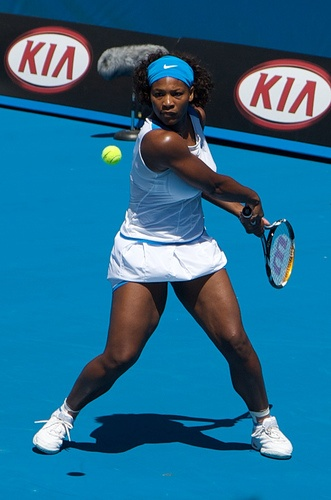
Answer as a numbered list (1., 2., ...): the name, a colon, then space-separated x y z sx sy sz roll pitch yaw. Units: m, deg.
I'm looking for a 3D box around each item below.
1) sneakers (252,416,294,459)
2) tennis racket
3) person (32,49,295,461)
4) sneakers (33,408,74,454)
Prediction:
1. sneakers: 0.446 0.815 2.124 0.112 0.126 0.217 3 -9 -25
2. tennis racket: 0.584 -0.006 2.540 0.054 0.274 0.471 -2 -32 29
3. person: 0.015 0.070 2.019 1.051 1.695 0.520 0 11 -16
4. sneakers: -0.447 0.766 2.080 0.120 0.097 0.241 23 11 8
